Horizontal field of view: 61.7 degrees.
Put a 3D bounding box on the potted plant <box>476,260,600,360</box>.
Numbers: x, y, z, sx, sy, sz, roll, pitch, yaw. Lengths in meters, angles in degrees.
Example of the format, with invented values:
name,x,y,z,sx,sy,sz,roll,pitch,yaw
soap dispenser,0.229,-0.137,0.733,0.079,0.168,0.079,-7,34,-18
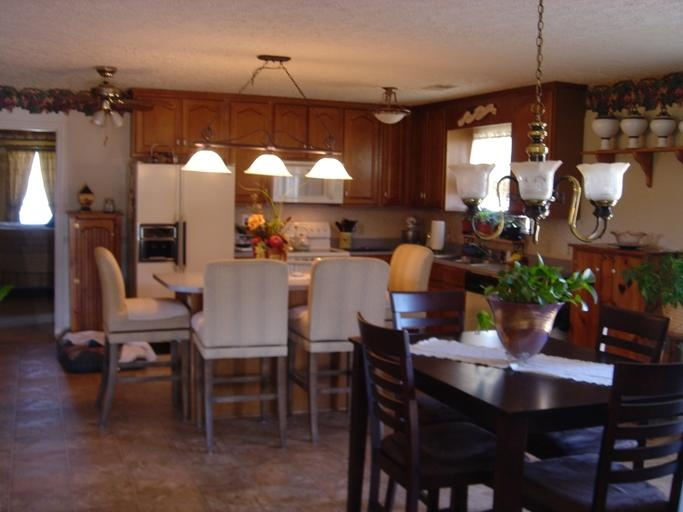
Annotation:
name,x,y,z,sx,sy,sz,roll,pitch,yaw
potted plant,0.930,0.227,2.872,0.518,0.438,0.512,4,1,-36

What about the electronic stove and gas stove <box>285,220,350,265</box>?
name,x,y,z,sx,sy,sz,roll,pitch,yaw
electronic stove and gas stove,-0.289,-0.179,6.793,0.609,0.364,0.623,-1,3,-21

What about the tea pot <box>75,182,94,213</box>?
name,x,y,z,sx,sy,sz,roll,pitch,yaw
tea pot,-2.877,-0.665,6.462,0.176,0.297,0.234,-2,8,-25

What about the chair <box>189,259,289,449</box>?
name,x,y,z,sx,sy,sz,roll,pitch,yaw
chair,-0.718,0.650,4.091,0.690,1.304,0.576,0,8,-14

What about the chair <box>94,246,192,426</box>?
name,x,y,z,sx,sy,sz,roll,pitch,yaw
chair,-1.525,0.590,4.382,0.706,1.299,0.549,-1,8,-17

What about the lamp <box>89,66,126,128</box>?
name,x,y,z,sx,sy,sz,roll,pitch,yaw
lamp,-2.230,-1.491,5.468,0.290,0.490,1.649,-1,7,-21

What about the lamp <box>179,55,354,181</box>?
name,x,y,z,sx,sy,sz,roll,pitch,yaw
lamp,-0.835,-1.410,5.748,1.359,0.862,0.370,0,4,-20
